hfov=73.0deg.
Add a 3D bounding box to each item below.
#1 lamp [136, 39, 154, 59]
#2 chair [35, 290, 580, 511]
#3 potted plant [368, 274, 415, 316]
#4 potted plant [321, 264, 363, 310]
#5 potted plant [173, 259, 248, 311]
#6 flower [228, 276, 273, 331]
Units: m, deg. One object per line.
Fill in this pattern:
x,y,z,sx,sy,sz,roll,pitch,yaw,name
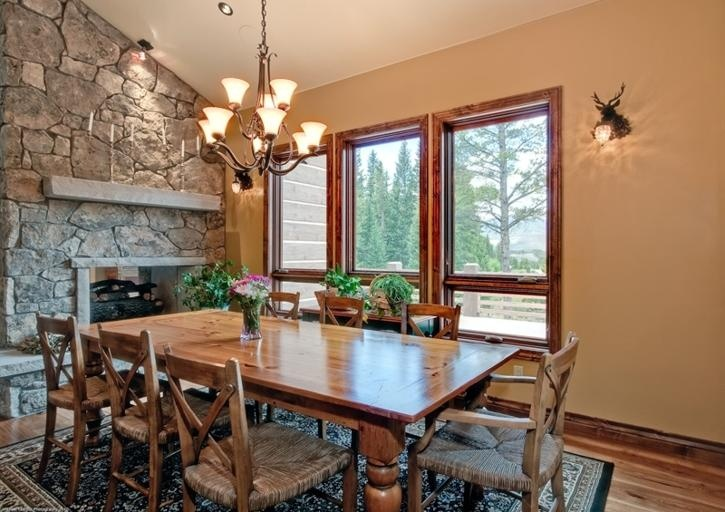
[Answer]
-2.525,-2.405,5.687,0.182,0.047,0.181,5,-45,-15,lamp
-0.561,0.984,3.741,2.916,0.979,1.878,-2,0,40,chair
0.311,0.404,4.874,0.379,0.270,0.386,-3,-9,35,potted plant
-0.202,0.324,5.222,0.350,0.245,0.331,3,-1,-15,potted plant
-1.929,0.259,6.199,0.837,0.609,0.864,-1,-9,1,potted plant
-0.828,0.364,3.801,0.354,0.481,0.415,-1,-1,6,flower
